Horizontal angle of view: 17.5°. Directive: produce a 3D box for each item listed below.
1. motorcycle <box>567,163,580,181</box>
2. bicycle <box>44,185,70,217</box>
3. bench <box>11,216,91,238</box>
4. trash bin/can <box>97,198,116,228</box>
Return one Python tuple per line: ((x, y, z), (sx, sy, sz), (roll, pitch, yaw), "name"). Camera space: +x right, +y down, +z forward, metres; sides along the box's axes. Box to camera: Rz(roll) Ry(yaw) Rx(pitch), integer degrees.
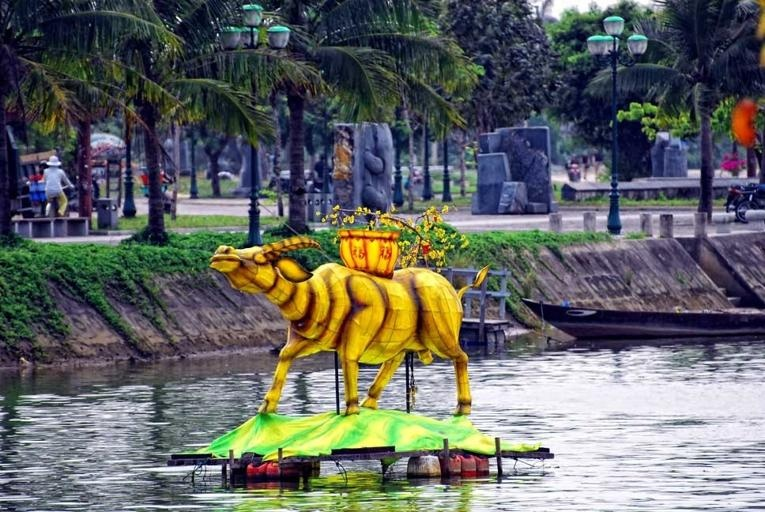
((11.454, -5.041, 147.934), (0.658, 1.031, 2.605), (-1, 1, 2), "motorcycle")
((-11.362, -1.907, 87.582), (0.836, 1.463, 0.863), (3, -1, -5), "bicycle")
((-11.231, -1.023, 85.699), (0.780, 0.869, 4.005), (-1, 5, 28), "bench")
((-9.816, -1.540, 89.103), (0.683, 1.074, 0.971), (-2, 4, 10), "trash bin/can")
